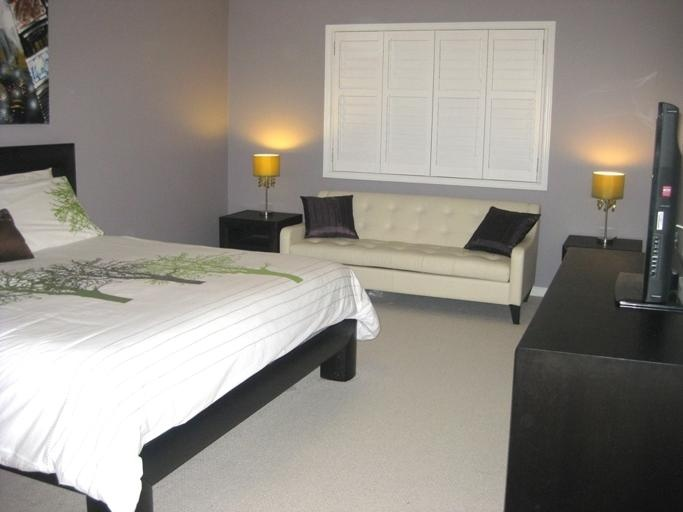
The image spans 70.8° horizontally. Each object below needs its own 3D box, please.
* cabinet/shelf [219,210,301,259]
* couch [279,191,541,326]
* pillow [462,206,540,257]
[{"bbox_3d":[-0.916,-0.230,5.519,0.680,0.558,0.519,10,-8,19],"label":"cabinet/shelf"},{"bbox_3d":[0.679,-0.034,4.994,2.392,1.094,1.027,6,12,21],"label":"couch"},{"bbox_3d":[1.516,-0.240,4.636,0.592,0.410,0.336,12,17,39],"label":"pillow"}]
